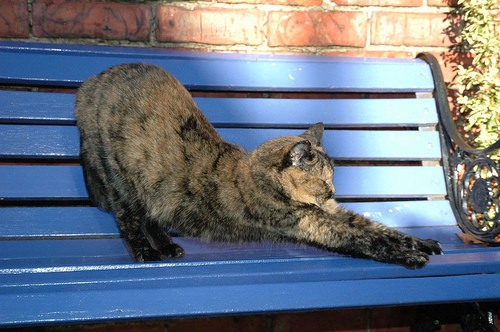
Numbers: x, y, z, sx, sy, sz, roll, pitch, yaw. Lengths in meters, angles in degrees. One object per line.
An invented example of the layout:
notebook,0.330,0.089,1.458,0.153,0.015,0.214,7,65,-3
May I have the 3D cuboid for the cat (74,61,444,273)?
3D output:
cat,-0.027,0.054,2.092,1.484,0.595,0.546,10,13,13
